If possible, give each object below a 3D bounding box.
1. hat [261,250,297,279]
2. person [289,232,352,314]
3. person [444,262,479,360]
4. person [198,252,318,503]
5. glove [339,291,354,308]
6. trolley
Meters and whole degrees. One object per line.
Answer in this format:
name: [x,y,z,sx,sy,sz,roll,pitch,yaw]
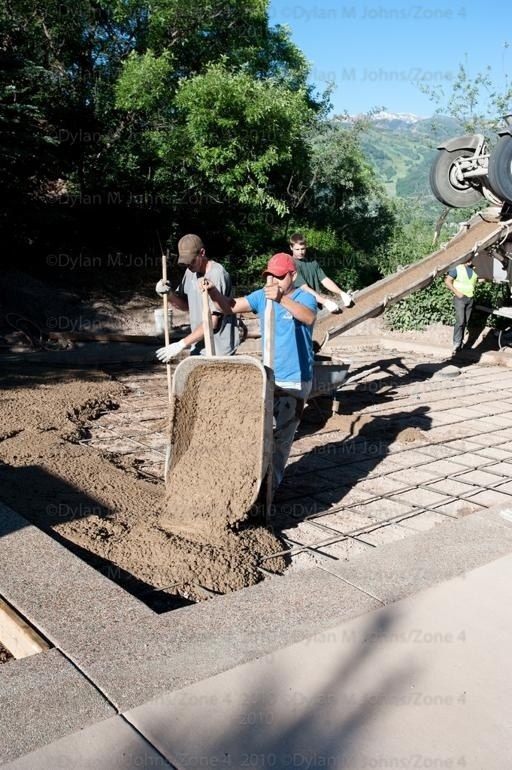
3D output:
hat: [0.130,-0.640,3.588,0.120,0.095,0.178,9,17,38]
person: [0.561,-1.043,6.079,0.350,0.497,0.953,-16,28,-17]
person: [3.011,-1.110,9.800,0.357,1.448,0.726,10,13,27]
person: [-0.042,-0.045,3.786,0.809,1.370,0.766,5,3,5]
glove: [0.992,-0.931,7.057,0.131,0.116,0.448,32,2,3]
trolley: [-0.187,0.186,3.451,0.575,1.169,0.478,5,11,5]
